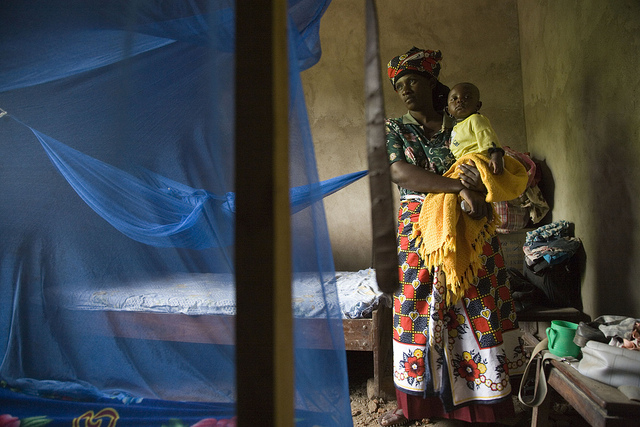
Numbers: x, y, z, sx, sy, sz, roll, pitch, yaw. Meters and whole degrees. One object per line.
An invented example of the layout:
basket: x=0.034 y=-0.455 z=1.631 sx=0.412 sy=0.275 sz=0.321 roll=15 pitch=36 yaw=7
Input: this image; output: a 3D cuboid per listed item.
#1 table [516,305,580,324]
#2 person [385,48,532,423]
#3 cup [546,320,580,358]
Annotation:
table: x=1.489 y=0.656 z=4.434 sx=0.395 sy=0.100 sz=0.143 roll=-6 pitch=-4 yaw=11
person: x=0.722 y=0.117 z=3.702 sx=0.878 sy=1.550 sz=0.430 roll=-8 pitch=-4 yaw=2
cup: x=1.222 y=0.649 z=3.505 sx=0.254 sy=0.149 sz=0.153 roll=9 pitch=-4 yaw=-40
